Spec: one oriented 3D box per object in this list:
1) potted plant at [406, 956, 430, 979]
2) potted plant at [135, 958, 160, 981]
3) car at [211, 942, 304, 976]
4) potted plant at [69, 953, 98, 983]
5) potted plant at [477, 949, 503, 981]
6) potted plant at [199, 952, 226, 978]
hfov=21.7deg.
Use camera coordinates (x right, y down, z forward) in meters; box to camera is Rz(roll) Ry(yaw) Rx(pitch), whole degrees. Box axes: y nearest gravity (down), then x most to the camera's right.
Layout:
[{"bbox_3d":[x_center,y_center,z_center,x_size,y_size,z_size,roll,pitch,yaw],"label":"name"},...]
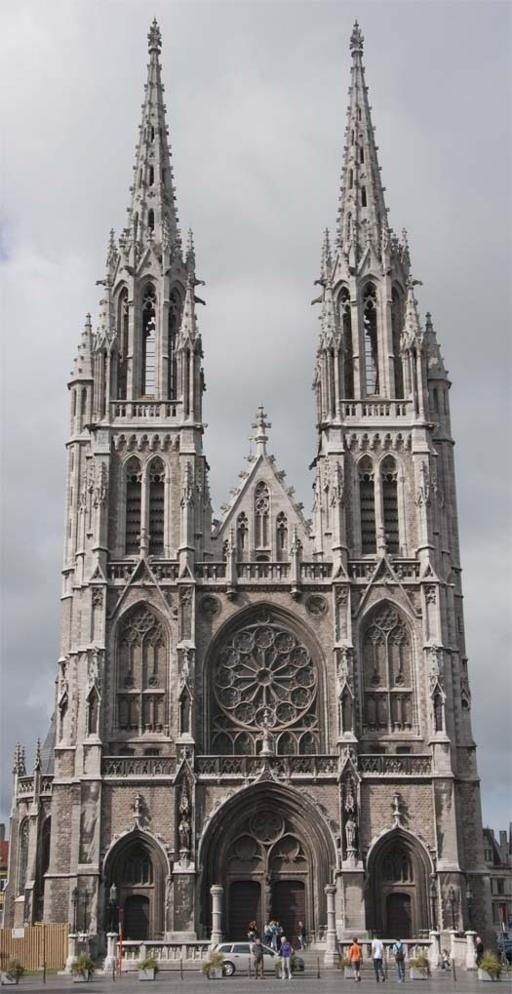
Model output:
[{"bbox_3d":[4.418,12.899,36.543,0.649,0.851,0.712,2,-18,-2],"label":"potted plant"},{"bbox_3d":[-2.797,12.473,35.275,0.447,0.505,0.603,3,-20,-10],"label":"potted plant"},{"bbox_3d":[0.041,13.086,38.745,2.570,1.038,1.303,-1,-21,-1],"label":"car"},{"bbox_3d":[-4.384,12.117,34.335,0.617,0.900,0.813,-5,-14,10],"label":"potted plant"},{"bbox_3d":[5.959,12.153,34.548,0.577,0.929,0.696,1,-24,8],"label":"potted plant"},{"bbox_3d":[-1.169,12.871,36.827,0.609,0.961,0.834,2,-7,7],"label":"potted plant"}]
